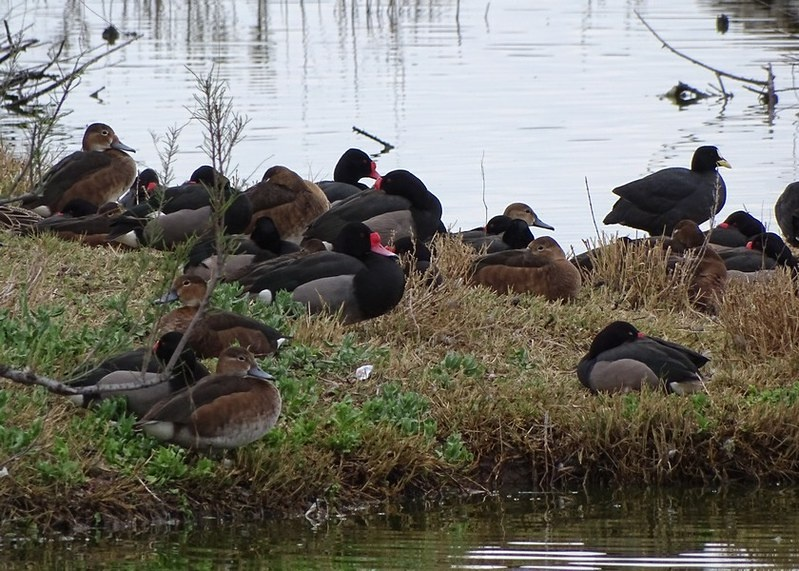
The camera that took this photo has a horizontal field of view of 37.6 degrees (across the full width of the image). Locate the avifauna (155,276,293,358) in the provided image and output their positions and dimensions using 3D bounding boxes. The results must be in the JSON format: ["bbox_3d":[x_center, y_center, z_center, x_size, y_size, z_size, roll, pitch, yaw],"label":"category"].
[{"bbox_3d":[-1.821,0.370,12.187,1.617,0.874,0.781,7,3,-28],"label":"avifauna"}]
